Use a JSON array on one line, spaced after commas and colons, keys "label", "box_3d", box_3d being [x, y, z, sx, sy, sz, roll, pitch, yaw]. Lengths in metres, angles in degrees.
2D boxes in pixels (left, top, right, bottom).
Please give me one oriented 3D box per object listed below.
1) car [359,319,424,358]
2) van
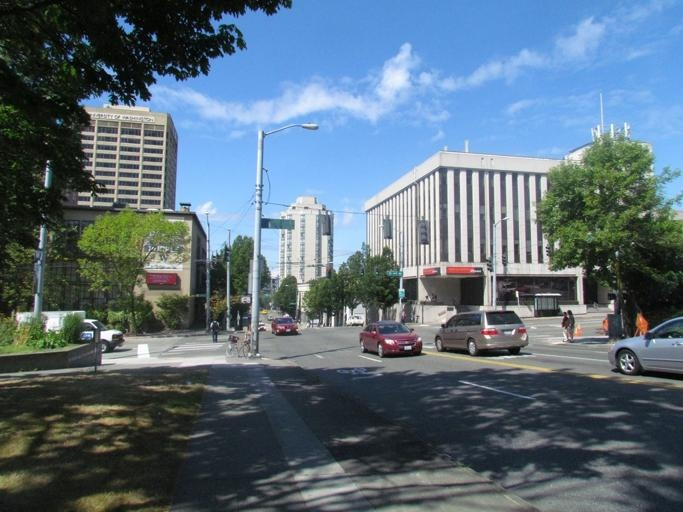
[{"label": "car", "box_3d": [2.058, 3.473, 22.839, 1.441, 1.399, 2.962, 0, -1, -23]}, {"label": "van", "box_3d": [5.400, 2.954, 22.172, 1.675, 1.271, 3.360, 3, -4, -18]}]
